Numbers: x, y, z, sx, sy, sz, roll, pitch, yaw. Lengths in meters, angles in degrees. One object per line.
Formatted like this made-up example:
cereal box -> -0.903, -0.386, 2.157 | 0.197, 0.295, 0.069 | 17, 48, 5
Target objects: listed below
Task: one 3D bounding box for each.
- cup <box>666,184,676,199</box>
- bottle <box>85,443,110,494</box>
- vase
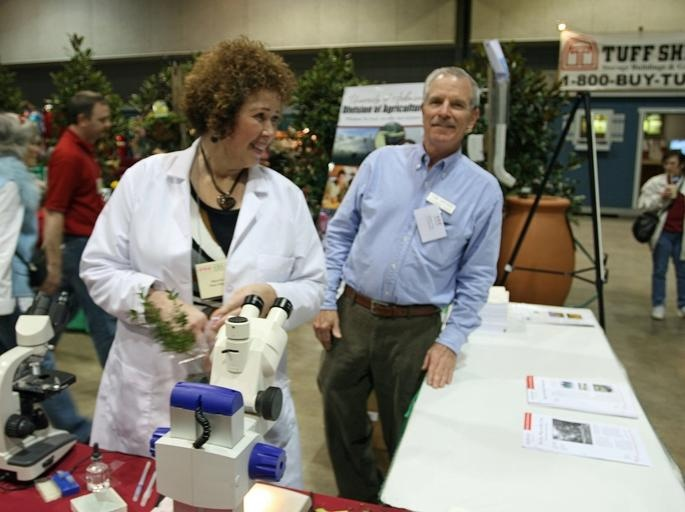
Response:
cup -> 2.989, -0.592, 5.570 | 0.073, 0.138, 0.124 | 0, 1, -35
bottle -> -0.756, 0.657, 1.884 | 0.073, 0.143, 0.129 | -6, 15, -23
vase -> 1.680, -0.065, 5.432 | 0.779, 1.280, 0.814 | 3, -2, 16
